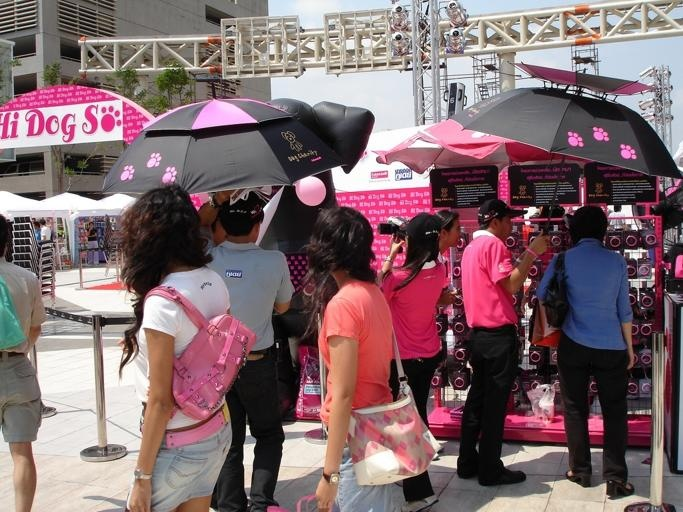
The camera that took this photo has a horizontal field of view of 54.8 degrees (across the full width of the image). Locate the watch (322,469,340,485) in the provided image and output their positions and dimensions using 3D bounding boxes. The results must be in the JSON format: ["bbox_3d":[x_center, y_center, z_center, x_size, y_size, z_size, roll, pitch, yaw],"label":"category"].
[{"bbox_3d":[-0.049,1.123,3.354,0.090,0.078,0.069,-1,4,-16],"label":"watch"}]

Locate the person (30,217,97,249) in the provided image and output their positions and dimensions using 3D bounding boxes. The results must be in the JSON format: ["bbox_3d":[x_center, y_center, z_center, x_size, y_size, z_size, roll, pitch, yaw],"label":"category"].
[{"bbox_3d":[-9.173,-0.785,21.840,1.056,0.861,0.615,2,7,3],"label":"person"}]

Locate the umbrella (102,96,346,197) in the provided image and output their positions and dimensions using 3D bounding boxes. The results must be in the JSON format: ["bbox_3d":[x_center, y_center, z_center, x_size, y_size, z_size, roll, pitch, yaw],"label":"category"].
[{"bbox_3d":[-0.834,-0.794,4.592,1.579,0.708,0.796,1,4,5],"label":"umbrella"}]

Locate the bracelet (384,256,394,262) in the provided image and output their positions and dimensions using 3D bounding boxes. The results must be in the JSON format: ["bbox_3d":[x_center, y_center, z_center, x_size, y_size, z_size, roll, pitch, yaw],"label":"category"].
[{"bbox_3d":[0.367,0.015,5.114,0.054,0.041,0.059,3,-3,9],"label":"bracelet"}]

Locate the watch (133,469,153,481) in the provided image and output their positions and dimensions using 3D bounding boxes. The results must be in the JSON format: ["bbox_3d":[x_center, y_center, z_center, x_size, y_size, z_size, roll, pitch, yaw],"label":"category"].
[{"bbox_3d":[-0.974,1.067,3.226,0.083,0.069,0.061,0,4,-10],"label":"watch"}]

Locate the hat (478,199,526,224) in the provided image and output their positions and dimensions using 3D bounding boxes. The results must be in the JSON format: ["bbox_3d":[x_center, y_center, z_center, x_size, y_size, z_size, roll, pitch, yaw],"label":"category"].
[{"bbox_3d":[1.253,-0.358,5.259,0.273,0.156,0.187,-6,8,-3],"label":"hat"}]

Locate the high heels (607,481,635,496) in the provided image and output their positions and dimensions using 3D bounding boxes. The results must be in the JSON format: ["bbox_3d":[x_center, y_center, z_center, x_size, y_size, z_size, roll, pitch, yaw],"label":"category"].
[{"bbox_3d":[2.066,1.723,4.852,0.197,0.118,0.097,-2,2,-31],"label":"high heels"}]

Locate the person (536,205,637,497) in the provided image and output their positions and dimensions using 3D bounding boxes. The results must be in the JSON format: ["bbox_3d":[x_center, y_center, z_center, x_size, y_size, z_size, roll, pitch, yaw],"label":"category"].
[{"bbox_3d":[1.884,0.697,4.987,0.672,2.126,0.304,2,4,27],"label":"person"}]

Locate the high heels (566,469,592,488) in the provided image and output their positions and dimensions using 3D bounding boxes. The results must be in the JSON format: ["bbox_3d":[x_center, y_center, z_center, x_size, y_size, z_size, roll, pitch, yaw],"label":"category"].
[{"bbox_3d":[1.821,1.701,5.026,0.072,0.094,0.197,-1,8,-27],"label":"high heels"}]
